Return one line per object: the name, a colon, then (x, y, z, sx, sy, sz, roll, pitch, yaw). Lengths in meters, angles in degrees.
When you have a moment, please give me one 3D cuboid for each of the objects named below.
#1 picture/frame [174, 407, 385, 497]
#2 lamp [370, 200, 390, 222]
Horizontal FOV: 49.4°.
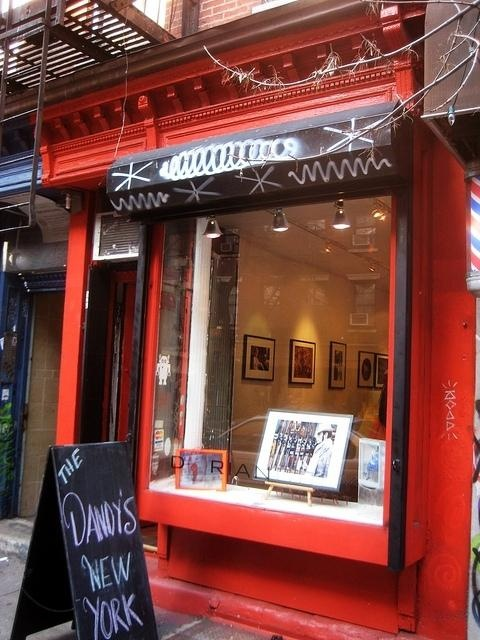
picture/frame: (0.292, 0.914, 3.617, 1.497, 0.721, 0.352, 1, -4, 33)
lamp: (0.884, -0.693, 3.307, 0.056, 0.135, 0.179, 3, -4, -19)
